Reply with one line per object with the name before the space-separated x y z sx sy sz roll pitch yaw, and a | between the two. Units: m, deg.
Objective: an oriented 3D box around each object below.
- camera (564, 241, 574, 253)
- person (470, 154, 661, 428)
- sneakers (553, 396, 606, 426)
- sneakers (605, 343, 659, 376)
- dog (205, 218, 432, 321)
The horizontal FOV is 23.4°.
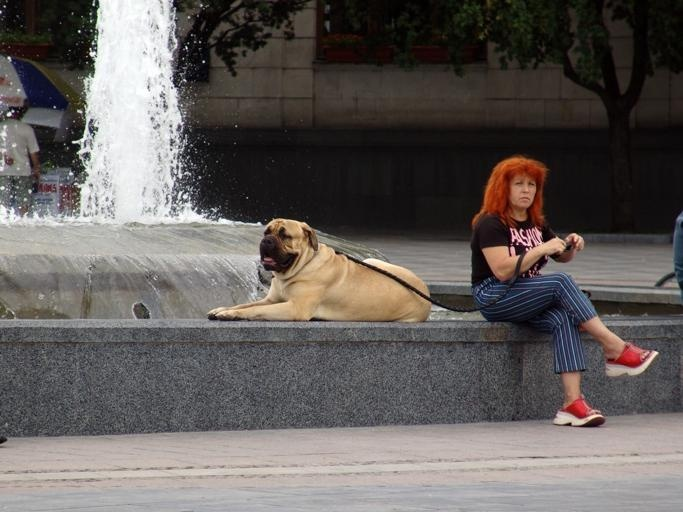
camera | 2.151 -0.085 15.748 0.049 0.085 0.159 35 -27 11
person | 1.962 0.322 15.717 1.527 2.528 0.531 0 3 15
sneakers | 2.212 1.489 15.585 0.481 0.198 0.218 -3 -4 29
sneakers | 2.712 0.980 15.602 0.587 0.261 0.273 -16 5 39
dog | -0.157 0.167 15.781 1.807 0.663 0.954 4 -1 -12
